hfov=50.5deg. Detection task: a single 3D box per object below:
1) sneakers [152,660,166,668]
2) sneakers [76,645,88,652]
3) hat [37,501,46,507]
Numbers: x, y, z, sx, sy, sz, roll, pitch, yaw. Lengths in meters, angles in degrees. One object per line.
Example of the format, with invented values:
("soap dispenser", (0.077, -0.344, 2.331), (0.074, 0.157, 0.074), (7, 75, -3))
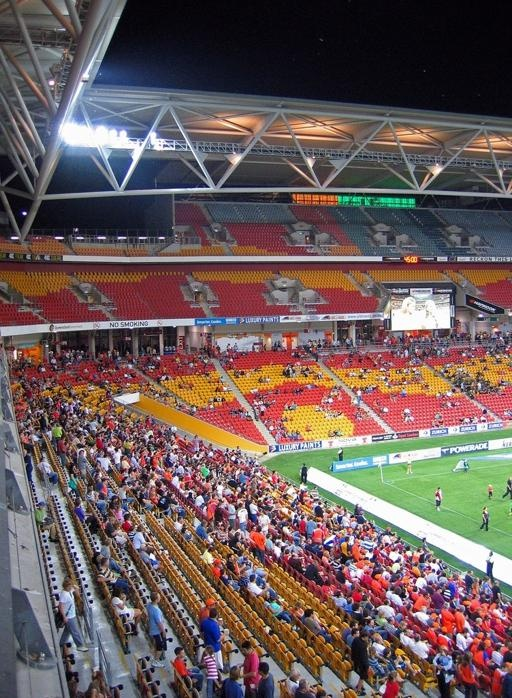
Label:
("sneakers", (-1.507, 4.889, 8.449), (0.219, 0.138, 0.082), (4, 11, -10))
("sneakers", (-2.699, 4.665, 8.461), (0.154, 0.058, 0.082), (1, 10, 5))
("hat", (-5.004, 3.651, 12.653), (0.150, 0.070, 0.199), (2, 4, 2))
